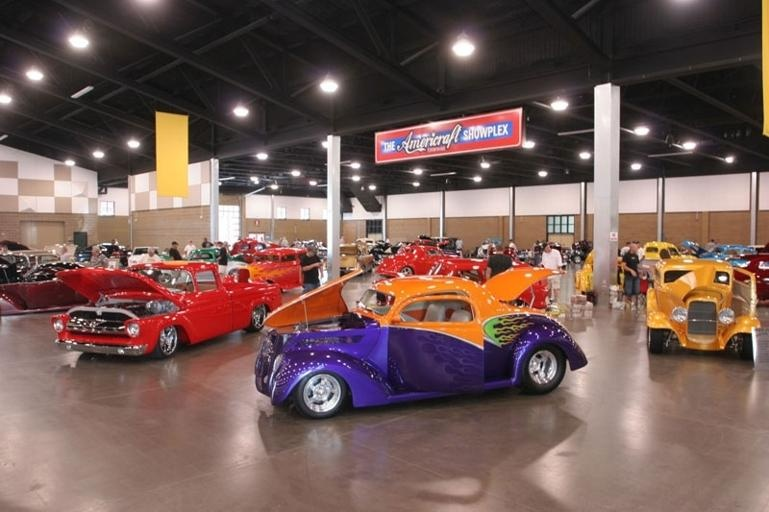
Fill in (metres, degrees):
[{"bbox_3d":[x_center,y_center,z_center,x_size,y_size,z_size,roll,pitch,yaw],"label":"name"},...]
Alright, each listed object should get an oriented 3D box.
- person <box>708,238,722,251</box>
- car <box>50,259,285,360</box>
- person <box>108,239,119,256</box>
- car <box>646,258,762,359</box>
[{"bbox_3d":[21.040,-0.692,30.263,0.920,0.605,1.192,-2,1,24],"label":"person"},{"bbox_3d":[-4.672,1.100,10.363,1.885,2.045,3.956,6,10,40],"label":"car"},{"bbox_3d":[-17.754,-0.506,30.957,0.725,1.190,0.356,14,-47,-29],"label":"person"},{"bbox_3d":[6.461,0.972,9.711,1.589,1.243,2.774,-1,-4,23],"label":"car"}]
